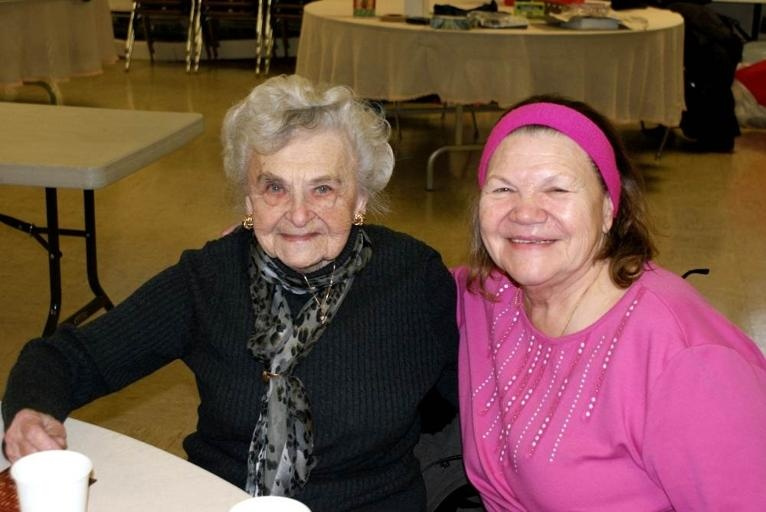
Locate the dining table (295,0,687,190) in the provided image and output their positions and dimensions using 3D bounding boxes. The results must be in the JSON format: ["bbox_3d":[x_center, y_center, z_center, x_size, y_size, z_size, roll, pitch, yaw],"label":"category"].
[{"bbox_3d":[0.819,-1.424,4.929,1.756,0.720,1.905,8,33,9],"label":"dining table"}]
